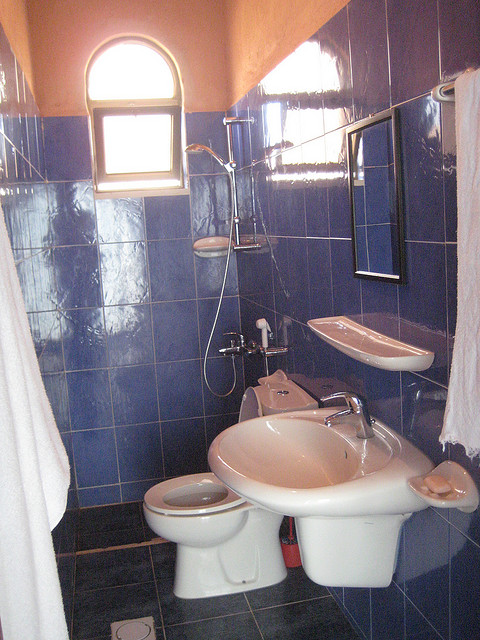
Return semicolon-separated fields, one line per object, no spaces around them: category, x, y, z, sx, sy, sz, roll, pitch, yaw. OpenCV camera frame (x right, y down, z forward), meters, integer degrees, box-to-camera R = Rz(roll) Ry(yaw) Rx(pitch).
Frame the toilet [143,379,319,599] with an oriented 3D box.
toilet;-0.028;0.671;2.165;0.616;0.960;0.500;-3;16;0

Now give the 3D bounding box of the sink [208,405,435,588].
sink;0.173;0.508;1.354;0.494;0.428;0.577;-4;3;-6

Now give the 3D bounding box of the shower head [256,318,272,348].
shower head;0.121;0.066;2.493;0.057;0.145;0.179;-2;3;12
